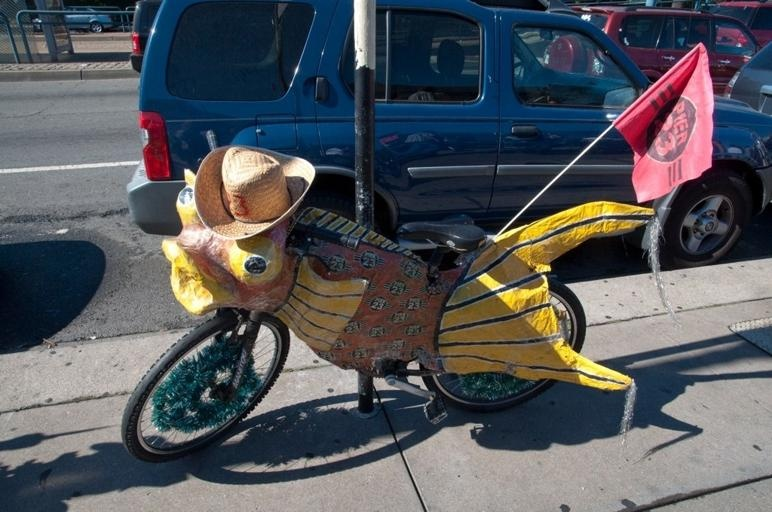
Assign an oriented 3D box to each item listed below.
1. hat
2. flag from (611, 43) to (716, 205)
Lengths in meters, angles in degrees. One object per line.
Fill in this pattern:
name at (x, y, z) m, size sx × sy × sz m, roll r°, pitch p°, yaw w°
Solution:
hat at (-0.818, -0.412, 3.466) m, size 0.790 × 0.290 × 0.747 m, roll -11°, pitch 32°, yaw -2°
flag at (1.998, -0.960, 4.147) m, size 0.594 × 1.012 × 0.804 m, roll 9°, pitch 38°, yaw 3°
